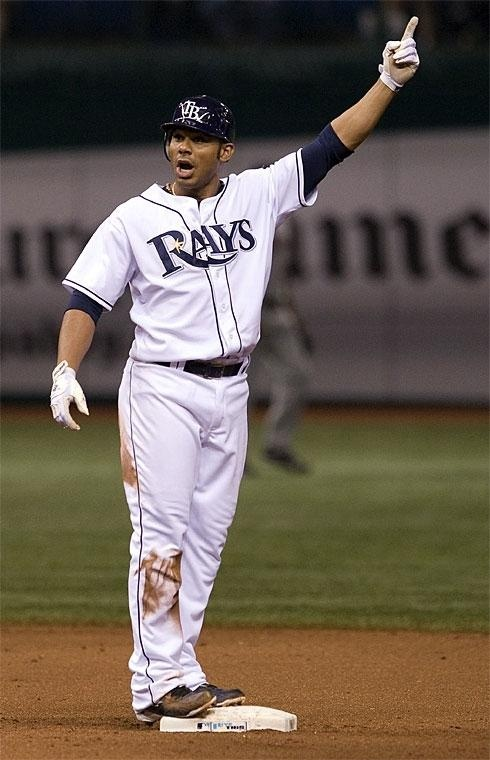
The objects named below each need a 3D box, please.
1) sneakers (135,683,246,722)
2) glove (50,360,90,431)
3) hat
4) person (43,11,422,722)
[{"bbox_3d":[-0.201,1.037,3.783,0.242,0.084,0.174,-20,-10,21],"label":"sneakers"},{"bbox_3d":[-0.564,0.033,3.771,0.134,0.217,0.072,19,-46,-29],"label":"glove"},{"bbox_3d":[-0.145,-0.844,3.855,0.198,0.101,0.155,15,-4,-39],"label":"hat"},{"bbox_3d":[-0.085,0.084,3.867,1.057,2.027,0.472,-2,6,-5],"label":"person"}]
